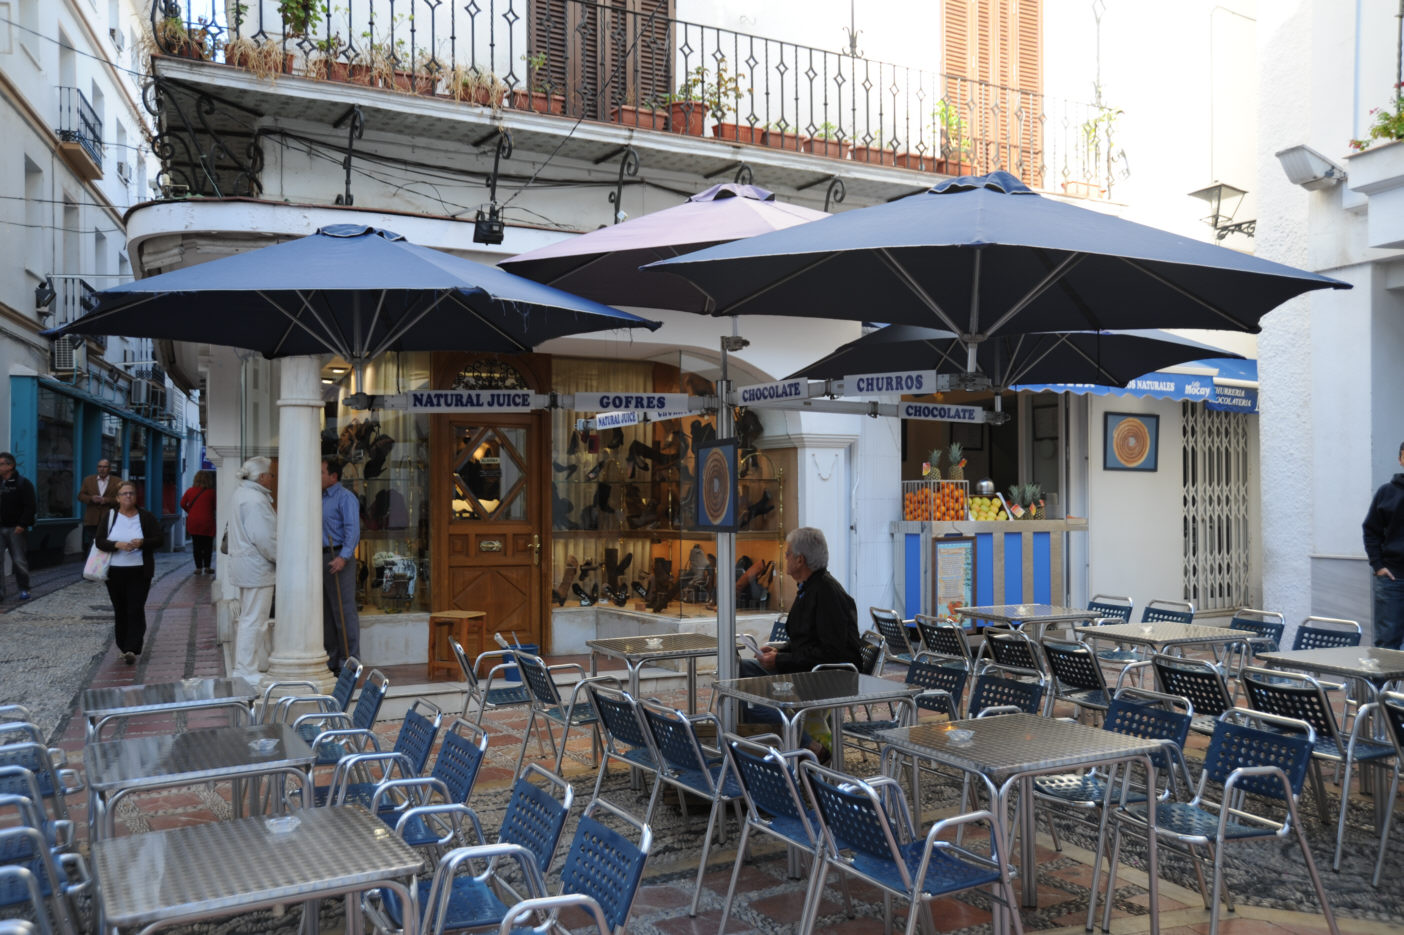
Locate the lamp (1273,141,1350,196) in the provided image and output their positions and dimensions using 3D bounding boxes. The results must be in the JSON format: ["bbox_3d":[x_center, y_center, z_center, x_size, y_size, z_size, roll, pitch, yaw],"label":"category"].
[{"bbox_3d":[7.263,-3.600,15.709,0.675,0.298,0.454,-3,3,-30],"label":"lamp"}]

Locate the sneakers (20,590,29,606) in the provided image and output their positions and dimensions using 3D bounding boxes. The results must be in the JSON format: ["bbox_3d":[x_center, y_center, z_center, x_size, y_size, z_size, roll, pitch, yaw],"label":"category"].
[{"bbox_3d":[-9.738,1.871,18.953,0.107,0.141,0.315,1,-9,-29],"label":"sneakers"}]

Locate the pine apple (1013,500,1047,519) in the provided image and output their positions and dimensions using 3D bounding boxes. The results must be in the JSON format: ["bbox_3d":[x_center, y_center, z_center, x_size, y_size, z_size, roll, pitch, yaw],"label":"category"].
[{"bbox_3d":[4.134,0.541,16.674,0.268,0.151,0.279,5,3,31],"label":"pine apple"}]

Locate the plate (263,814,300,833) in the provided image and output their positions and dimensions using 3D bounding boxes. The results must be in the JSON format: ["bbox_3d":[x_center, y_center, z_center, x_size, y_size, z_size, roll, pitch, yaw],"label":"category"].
[{"bbox_3d":[-2.500,2.145,7.879,0.197,0.071,0.227,-2,-2,-20],"label":"plate"}]

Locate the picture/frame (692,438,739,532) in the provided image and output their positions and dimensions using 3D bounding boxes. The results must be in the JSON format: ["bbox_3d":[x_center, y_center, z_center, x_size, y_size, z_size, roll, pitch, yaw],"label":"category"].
[{"bbox_3d":[0.114,0.141,10.499,0.052,0.706,0.748,3,-5,-17],"label":"picture/frame"}]

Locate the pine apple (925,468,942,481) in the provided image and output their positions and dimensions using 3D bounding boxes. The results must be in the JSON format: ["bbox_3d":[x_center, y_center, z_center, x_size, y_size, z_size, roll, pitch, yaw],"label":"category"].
[{"bbox_3d":[2.860,0.100,16.282,0.142,0.277,0.143,6,-10,-23],"label":"pine apple"}]

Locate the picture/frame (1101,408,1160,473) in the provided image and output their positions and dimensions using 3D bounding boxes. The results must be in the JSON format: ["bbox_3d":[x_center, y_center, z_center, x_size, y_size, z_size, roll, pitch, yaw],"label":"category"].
[{"bbox_3d":[5.694,-0.342,17.480,0.841,0.786,0.039,1,1,-16],"label":"picture/frame"}]

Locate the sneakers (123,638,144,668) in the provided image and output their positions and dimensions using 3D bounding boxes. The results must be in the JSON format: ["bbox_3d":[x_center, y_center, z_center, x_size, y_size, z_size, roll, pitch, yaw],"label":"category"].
[{"bbox_3d":[-6.231,2.082,14.512,0.139,0.188,0.423,-1,-16,-11],"label":"sneakers"}]
